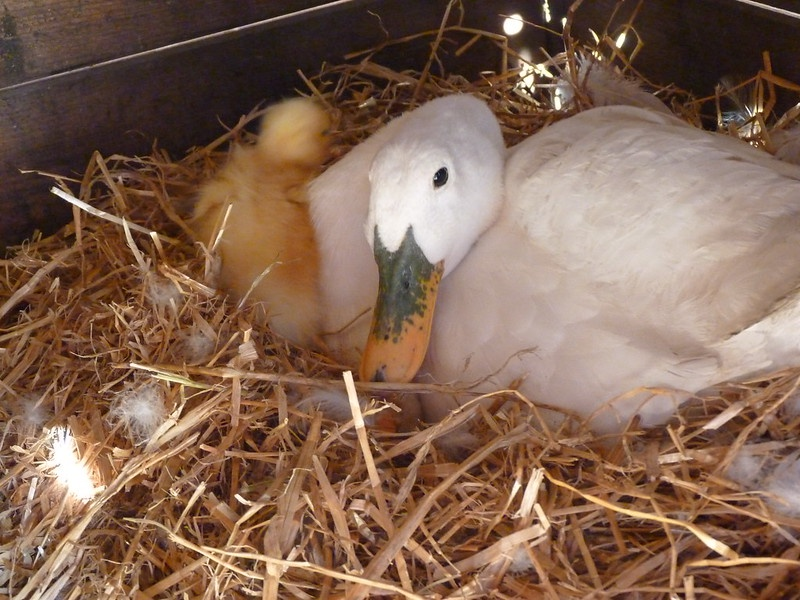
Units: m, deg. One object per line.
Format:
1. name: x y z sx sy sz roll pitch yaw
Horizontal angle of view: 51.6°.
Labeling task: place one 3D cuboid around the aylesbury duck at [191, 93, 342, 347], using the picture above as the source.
1. aylesbury duck: -0.247 -0.138 1.703 0.275 0.208 0.500 -8 59 14
